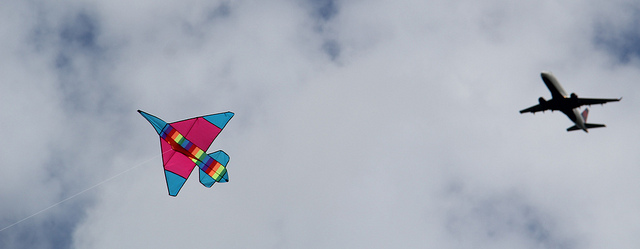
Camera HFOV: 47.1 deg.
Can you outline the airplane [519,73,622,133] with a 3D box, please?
[{"bbox_3d":[46.983,-4.466,141.916,14.573,5.203,7.749,17,-41,-18],"label":"airplane"}]
